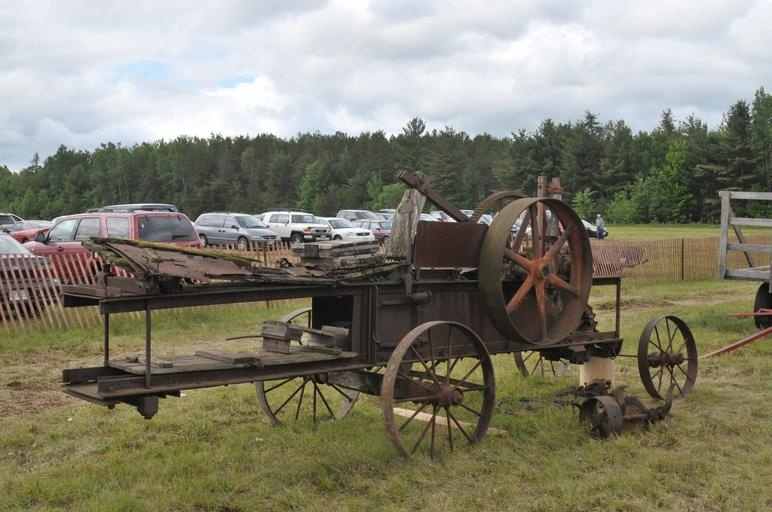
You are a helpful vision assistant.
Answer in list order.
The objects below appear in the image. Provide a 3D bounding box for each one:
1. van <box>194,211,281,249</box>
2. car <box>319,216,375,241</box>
[{"bbox_3d":[-6.562,-1.156,35.429,4.096,1.302,2.019,13,18,40],"label":"van"},{"bbox_3d":[-1.832,-1.307,39.198,1.639,1.233,3.476,-4,2,-37],"label":"car"}]
